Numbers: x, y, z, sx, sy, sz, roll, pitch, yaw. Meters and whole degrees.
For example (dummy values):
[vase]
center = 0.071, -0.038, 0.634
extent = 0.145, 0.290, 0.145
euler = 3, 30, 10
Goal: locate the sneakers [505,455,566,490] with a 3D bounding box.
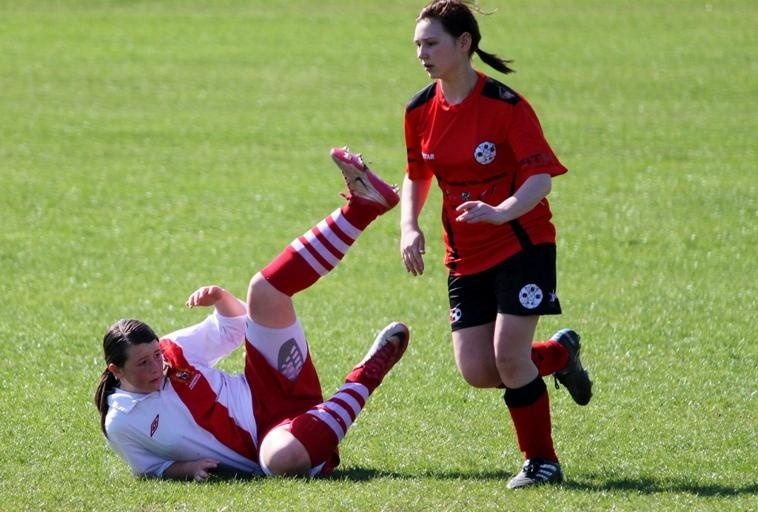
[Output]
[sneakers]
center = 1.376, 1.881, 10.676
extent = 0.451, 0.210, 0.236
euler = -4, 0, -16
